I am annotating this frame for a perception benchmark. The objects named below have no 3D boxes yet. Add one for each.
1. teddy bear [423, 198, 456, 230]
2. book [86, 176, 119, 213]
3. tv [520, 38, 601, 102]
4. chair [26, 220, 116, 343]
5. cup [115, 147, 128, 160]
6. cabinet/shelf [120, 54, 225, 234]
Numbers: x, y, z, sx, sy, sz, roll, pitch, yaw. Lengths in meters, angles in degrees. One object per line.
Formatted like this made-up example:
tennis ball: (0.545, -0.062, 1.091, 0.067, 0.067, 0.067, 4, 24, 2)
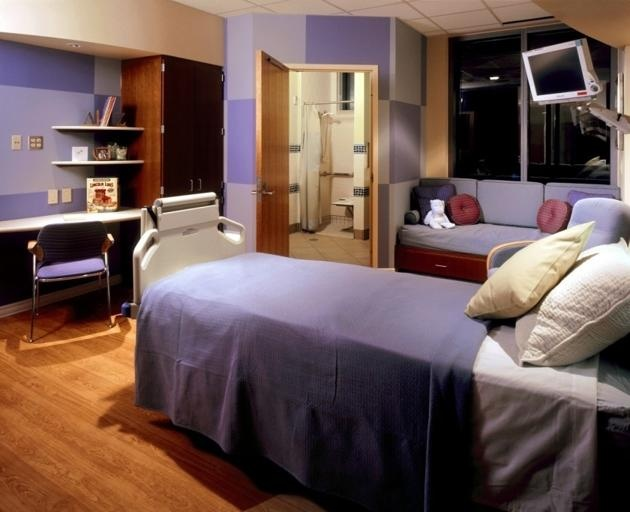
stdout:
teddy bear: (1.350, -0.451, 5.459, 0.287, 0.359, 0.298, -1, 2, -15)
book: (-2.029, -0.571, 4.729, 0.273, 0.335, 0.109, -3, -7, -17)
tv: (1.763, -1.323, 3.578, 0.266, 0.394, 0.754, -1, 15, -8)
chair: (-2.022, 0.098, 4.087, 0.611, 1.007, 0.659, -4, 24, -31)
cup: (-1.913, -1.016, 4.859, 0.108, 0.131, 0.098, -2, 2, 0)
cabinet/shelf: (-1.395, -1.123, 5.141, 0.707, 1.777, 0.525, -6, 15, -41)
